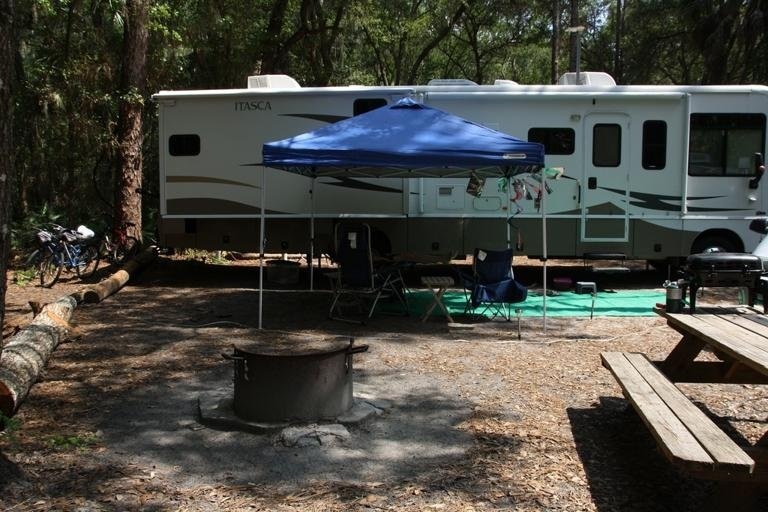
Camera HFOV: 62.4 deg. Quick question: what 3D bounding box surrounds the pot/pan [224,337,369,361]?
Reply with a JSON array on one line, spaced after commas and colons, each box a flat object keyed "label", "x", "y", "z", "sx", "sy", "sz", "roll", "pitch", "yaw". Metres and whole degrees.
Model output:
[{"label": "pot/pan", "x": -0.839, "y": 0.904, "z": 6.022, "sx": 1.317, "sy": 0.150, "sz": 0.479, "roll": -2, "pitch": 12, "yaw": -11}]

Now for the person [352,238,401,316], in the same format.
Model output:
[{"label": "person", "x": -0.094, "y": 0.385, "z": 9.837, "sx": 0.637, "sy": 0.921, "sz": 0.740, "roll": 3, "pitch": 4, "yaw": 38}]

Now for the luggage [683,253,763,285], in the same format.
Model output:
[{"label": "luggage", "x": 3.475, "y": 0.142, "z": 6.455, "sx": 0.786, "sy": 0.317, "sz": 0.248, "roll": 0, "pitch": 13, "yaw": -3}]

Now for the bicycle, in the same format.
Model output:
[{"label": "bicycle", "x": -5.829, "y": -0.108, "z": 12.184, "sx": 0.772, "sy": 1.001, "sz": 2.229, "roll": 4, "pitch": 12, "yaw": 16}]

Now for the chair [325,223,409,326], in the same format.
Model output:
[{"label": "chair", "x": -0.057, "y": 0.242, "z": 9.892, "sx": 1.465, "sy": 1.808, "sz": 1.561, "roll": 1, "pitch": 4, "yaw": 30}]

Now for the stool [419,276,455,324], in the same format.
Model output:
[{"label": "stool", "x": 0.825, "y": 0.606, "z": 9.602, "sx": 0.671, "sy": 0.676, "sz": 0.801, "roll": -1, "pitch": 4, "yaw": 0}]
